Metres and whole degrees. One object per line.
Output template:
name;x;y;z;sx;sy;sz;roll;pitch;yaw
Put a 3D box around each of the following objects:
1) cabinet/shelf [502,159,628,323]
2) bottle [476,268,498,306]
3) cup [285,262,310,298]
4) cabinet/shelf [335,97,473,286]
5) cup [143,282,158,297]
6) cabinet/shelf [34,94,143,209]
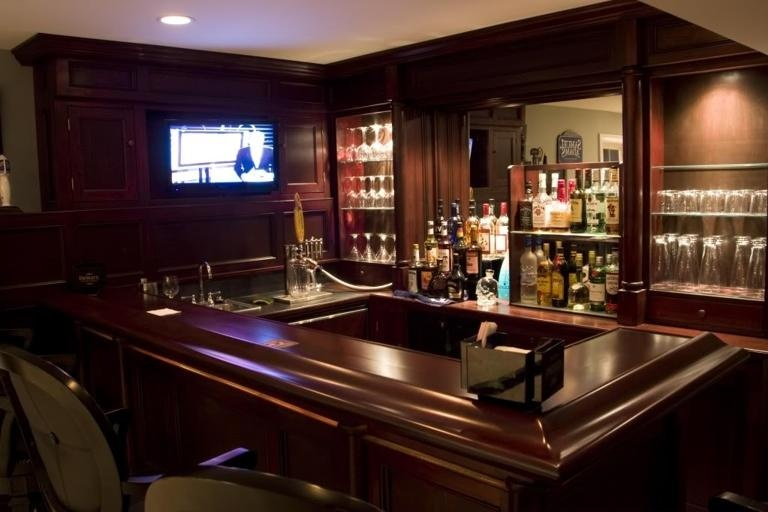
cabinet/shelf;1.275;-0.078;3.926;1.074;1.257;0.428;6;9;44
bottle;0.799;0.240;4.336;0.172;0.271;0.170;6;5;0
cup;-0.703;0.169;4.744;0.179;0.259;0.198;0;6;36
cabinet/shelf;0.111;-0.523;5.370;1.119;1.501;1.096;1;4;14
cup;-1.618;0.229;3.905;0.083;0.081;0.151;1;7;-33
cabinet/shelf;-2.090;-0.787;4.490;0.737;0.807;0.710;6;9;31
